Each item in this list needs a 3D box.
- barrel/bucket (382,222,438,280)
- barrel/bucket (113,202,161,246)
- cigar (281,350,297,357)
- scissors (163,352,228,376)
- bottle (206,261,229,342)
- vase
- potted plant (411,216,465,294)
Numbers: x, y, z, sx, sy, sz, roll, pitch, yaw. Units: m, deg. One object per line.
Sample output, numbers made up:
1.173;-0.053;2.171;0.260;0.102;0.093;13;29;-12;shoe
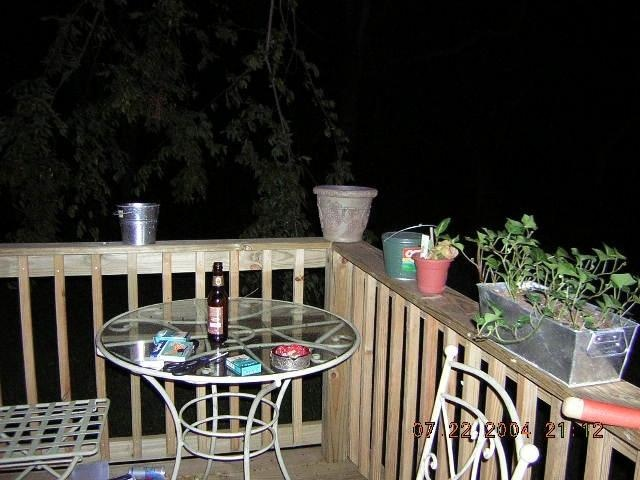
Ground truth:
0.403;0.043;2.171;0.231;0.182;0.218;0;8;0;barrel/bucket
-0.945;-0.087;2.658;0.230;0.215;0.234;2;8;0;barrel/bucket
-0.116;0.421;1.925;0.043;0.006;0.037;0;13;-7;cigar
-0.447;0.452;1.876;0.238;0.025;0.119;-3;14;-20;scissors
-0.424;0.242;2.067;0.080;0.301;0.092;1;2;13;bottle
0.136;-0.151;2.923;0.376;0.293;0.380;-1;11;-21;vase
0.437;0.051;2.016;0.143;0.294;0.176;-1;12;-26;potted plant
